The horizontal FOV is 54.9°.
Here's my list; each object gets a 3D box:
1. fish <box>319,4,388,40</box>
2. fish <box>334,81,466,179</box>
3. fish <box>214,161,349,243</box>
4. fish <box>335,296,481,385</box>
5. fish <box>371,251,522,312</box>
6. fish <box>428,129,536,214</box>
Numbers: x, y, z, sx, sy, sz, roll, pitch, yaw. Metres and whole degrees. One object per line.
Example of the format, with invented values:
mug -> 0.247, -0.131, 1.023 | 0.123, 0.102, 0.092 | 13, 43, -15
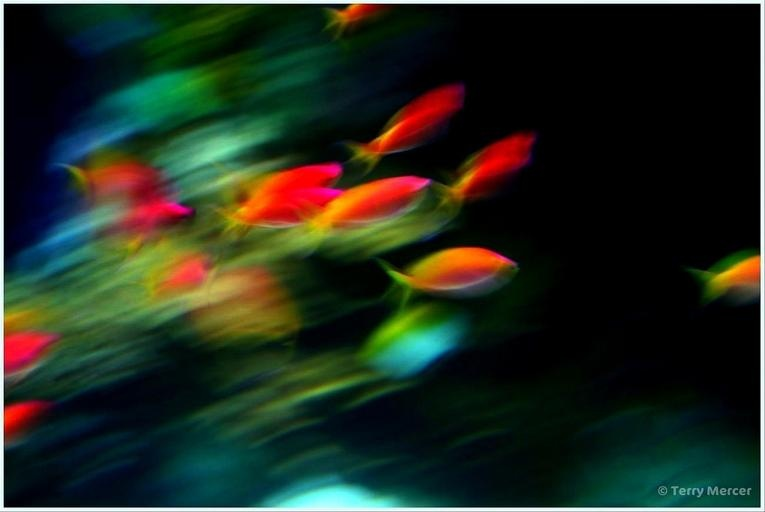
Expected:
fish -> -0.050, -0.453, 1.386 | 0.126, 0.041, 0.041 | -17, 44, 0
fish -> 0.053, -0.245, 1.422 | 0.315, 0.098, 0.111 | -30, 1, 0
fish -> -0.190, -0.104, 1.425 | 0.313, 0.116, 0.091 | -19, 3, -1
fish -> 0.057, 0.157, 1.373 | 0.203, 0.094, 0.079 | -25, 44, -8
fish -> 0.131, 0.033, 1.418 | 0.245, 0.090, 0.110 | -7, 13, 5
fish -> 0.192, -0.154, 1.416 | 0.269, 0.079, 0.075 | -30, 7, 0
